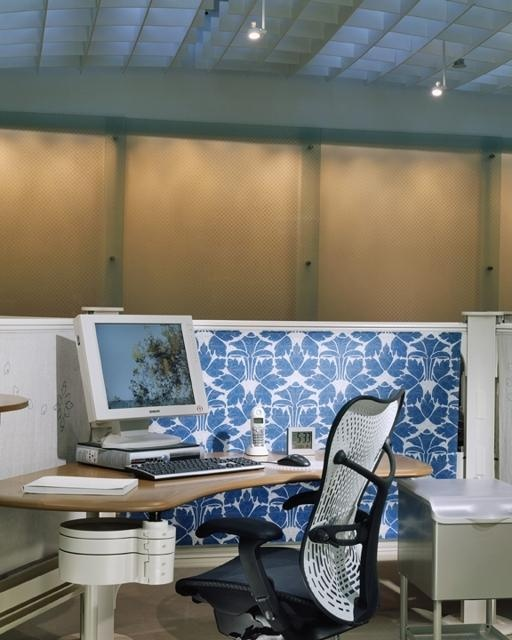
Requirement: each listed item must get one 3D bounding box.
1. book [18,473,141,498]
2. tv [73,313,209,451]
[{"bbox_3d":[-0.506,0.483,1.687,0.303,0.045,0.188,-1,-1,1],"label":"book"},{"bbox_3d":[-0.409,0.174,2.122,0.130,0.435,0.506,-1,0,43],"label":"tv"}]
